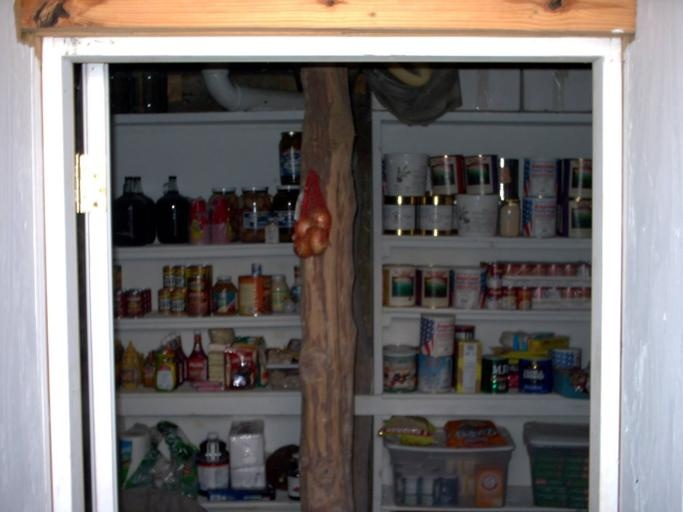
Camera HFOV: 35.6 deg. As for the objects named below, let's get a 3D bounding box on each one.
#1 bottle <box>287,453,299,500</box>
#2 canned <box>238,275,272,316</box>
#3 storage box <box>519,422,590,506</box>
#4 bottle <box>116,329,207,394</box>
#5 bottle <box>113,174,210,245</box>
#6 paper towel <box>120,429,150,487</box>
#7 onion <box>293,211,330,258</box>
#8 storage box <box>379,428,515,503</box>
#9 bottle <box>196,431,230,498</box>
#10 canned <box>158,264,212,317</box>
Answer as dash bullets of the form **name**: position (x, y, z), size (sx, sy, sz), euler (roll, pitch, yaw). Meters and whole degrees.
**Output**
- **bottle**: position (-0.188, 0.860, 4.143), size (0.043, 0.142, 0.113), euler (-1, 0, -1)
- **canned**: position (-0.344, 0.156, 4.214), size (0.125, 0.173, 0.134), euler (3, 3, 30)
- **storage box**: position (0.855, 0.818, 4.222), size (0.272, 0.247, 0.248), euler (-1, -4, 17)
- **bottle**: position (-0.727, 0.429, 4.188), size (0.454, 0.343, 0.166), euler (1, -2, -16)
- **bottle**: position (-0.737, -0.188, 4.275), size (0.351, 0.326, 0.209), euler (-2, 7, -15)
- **paper towel**: position (-0.796, 0.784, 4.111), size (0.117, 0.159, 0.119), euler (-1, 0, -12)
- **onion**: position (-0.101, -0.072, 3.661), size (0.127, 0.133, 0.064), euler (-1, 0, -3)
- **storage box**: position (0.423, 0.803, 4.176), size (0.341, 0.191, 0.272), euler (0, -5, 1)
- **bottle**: position (-0.495, 0.808, 4.124), size (0.168, 0.284, 0.163), euler (0, 5, 0)
- **canned**: position (-0.614, 0.127, 4.176), size (0.177, 0.202, 0.175), euler (2, 3, 44)
